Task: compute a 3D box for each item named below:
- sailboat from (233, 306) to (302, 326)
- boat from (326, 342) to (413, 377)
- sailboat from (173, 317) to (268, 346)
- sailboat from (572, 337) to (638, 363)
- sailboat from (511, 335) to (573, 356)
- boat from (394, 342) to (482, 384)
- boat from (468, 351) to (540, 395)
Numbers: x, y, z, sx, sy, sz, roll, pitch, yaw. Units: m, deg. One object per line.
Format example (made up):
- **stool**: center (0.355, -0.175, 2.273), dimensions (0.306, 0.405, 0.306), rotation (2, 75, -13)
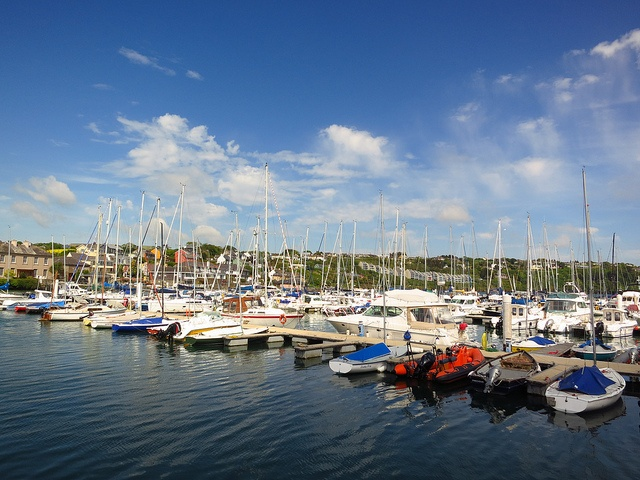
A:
- **sailboat**: center (-4.378, 6.598, 40.678), dimensions (6.166, 1.682, 1.996), rotation (0, -5, -1)
- **boat**: center (2.680, 6.574, 26.520), dimensions (3.494, 0.956, 1.645), rotation (-2, 0, -35)
- **sailboat**: center (-7.192, 6.591, 34.351), dimensions (4.342, 1.560, 2.524), rotation (9, -10, -27)
- **sailboat**: center (16.808, 6.693, 28.210), dimensions (4.511, 1.399, 1.586), rotation (-2, -7, 21)
- **sailboat**: center (13.998, 6.689, 30.028), dimensions (3.727, 1.166, 1.580), rotation (0, -10, 5)
- **boat**: center (6.841, 6.641, 25.640), dimensions (3.168, 1.068, 2.242), rotation (2, -7, -39)
- **boat**: center (9.905, 6.667, 24.908), dimensions (2.451, 1.189, 6.683), rotation (1, 0, 37)
